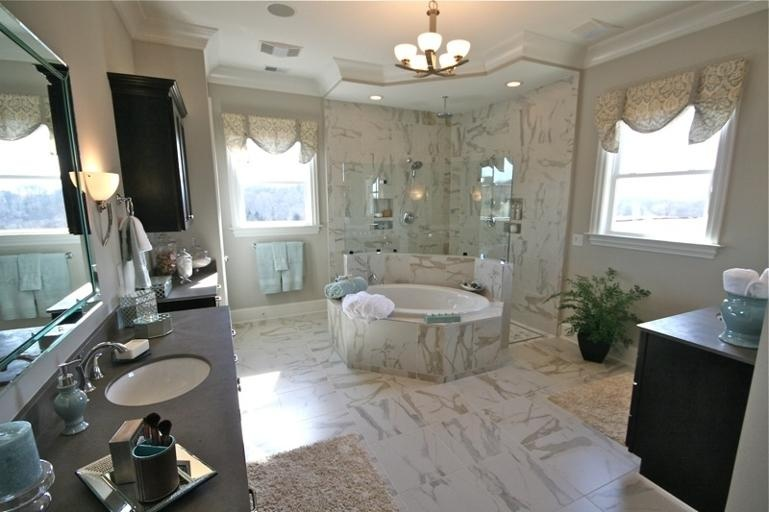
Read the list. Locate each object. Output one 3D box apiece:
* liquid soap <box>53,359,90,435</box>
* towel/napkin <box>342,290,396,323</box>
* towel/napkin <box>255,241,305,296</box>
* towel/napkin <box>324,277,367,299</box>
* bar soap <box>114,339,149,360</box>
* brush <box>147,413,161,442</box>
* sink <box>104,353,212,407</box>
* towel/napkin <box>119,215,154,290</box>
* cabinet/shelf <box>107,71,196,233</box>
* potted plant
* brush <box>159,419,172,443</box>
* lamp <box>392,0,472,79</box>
[{"bbox_3d":[-1.676,0.731,2.575,0.152,0.345,0.339,-7,8,-33],"label":"liquid soap"},{"bbox_3d":[-0.168,0.458,4.436,0.340,0.128,0.286,2,9,13],"label":"towel/napkin"},{"bbox_3d":[-1.267,0.128,5.728,0.626,0.617,0.168,-5,16,-25],"label":"towel/napkin"},{"bbox_3d":[-0.363,0.316,4.970,0.253,0.116,0.299,2,7,38],"label":"towel/napkin"},{"bbox_3d":[-1.520,0.561,2.928,0.124,0.038,0.134,8,11,30],"label":"bar soap"},{"bbox_3d":[-1.105,0.810,2.294,0.073,0.148,0.039,0,8,9],"label":"brush"},{"bbox_3d":[-1.351,0.684,2.842,0.353,0.092,0.338,-3,11,-11],"label":"sink"},{"bbox_3d":[-1.830,-0.029,3.569,0.231,0.556,0.168,3,9,31],"label":"towel/napkin"},{"bbox_3d":[-1.842,-0.806,3.744,0.513,1.247,1.300,-5,15,-17],"label":"cabinet/shelf"},{"bbox_3d":[2.070,0.563,4.902,0.919,0.880,0.832,2,3,13],"label":"potted plant"},{"bbox_3d":[-1.047,0.831,2.296,0.060,0.113,0.039,-3,8,-13],"label":"brush"},{"bbox_3d":[0.349,-1.677,4.015,0.689,0.844,0.685,-3,18,-6],"label":"lamp"}]
